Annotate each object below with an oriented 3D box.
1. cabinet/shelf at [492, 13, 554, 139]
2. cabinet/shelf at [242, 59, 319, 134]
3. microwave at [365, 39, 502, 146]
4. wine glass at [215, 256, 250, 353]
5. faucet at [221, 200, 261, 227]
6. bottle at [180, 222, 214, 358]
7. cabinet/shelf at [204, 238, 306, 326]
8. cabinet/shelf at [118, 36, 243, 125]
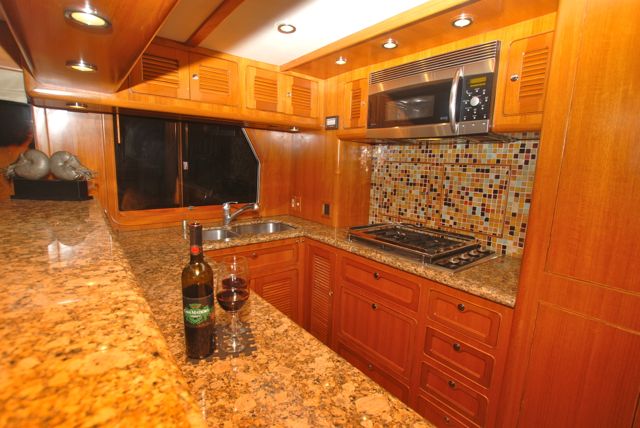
[{"bbox_3d":[1.120,-0.806,2.425,0.387,0.559,0.344,-14,32,-3],"label":"cabinet/shelf"},{"bbox_3d":[-0.200,-1.008,3.399,0.692,0.386,0.353,16,36,17],"label":"cabinet/shelf"},{"bbox_3d":[0.781,-0.736,2.805,0.906,0.484,0.482,5,6,41],"label":"microwave"},{"bbox_3d":[-0.373,0.356,1.801,0.131,0.365,0.312,-2,11,-11],"label":"wine glass"},{"bbox_3d":[-0.661,-0.022,3.454,0.294,0.183,0.354,-2,11,-16],"label":"faucet"},{"bbox_3d":[-0.491,0.371,1.690,0.124,0.395,0.178,-3,12,-17],"label":"bottle"},{"bbox_3d":[-0.388,0.362,2.474,0.733,0.627,0.253,-4,7,-32],"label":"cabinet/shelf"},{"bbox_3d":[-0.981,-0.932,2.940,0.889,0.441,0.307,-6,8,-44],"label":"cabinet/shelf"}]
